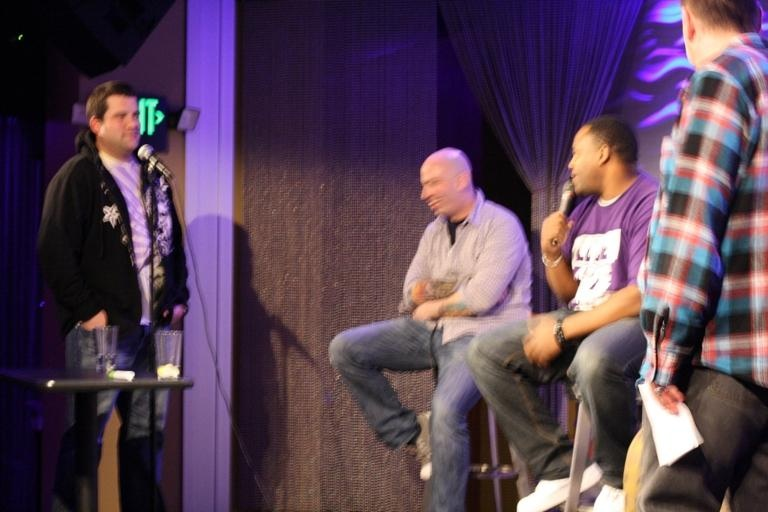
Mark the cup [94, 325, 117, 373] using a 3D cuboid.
[{"bbox_3d":[-1.144,0.385,3.366,0.088,0.192,0.054,-2,-3,-20],"label":"cup"}]

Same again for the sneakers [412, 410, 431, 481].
[{"bbox_3d":[0.188,0.894,3.824,0.078,0.271,0.203,1,-16,2],"label":"sneakers"}]
